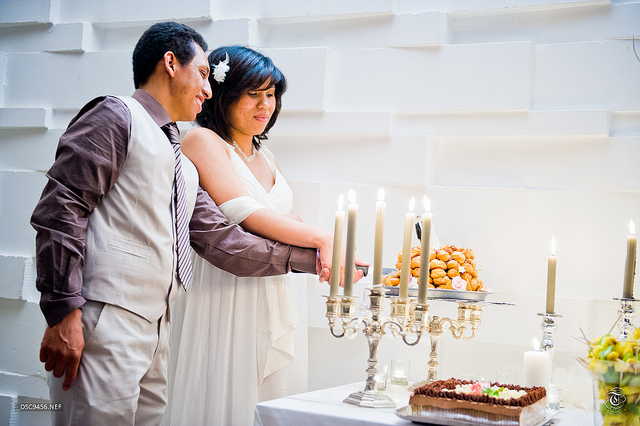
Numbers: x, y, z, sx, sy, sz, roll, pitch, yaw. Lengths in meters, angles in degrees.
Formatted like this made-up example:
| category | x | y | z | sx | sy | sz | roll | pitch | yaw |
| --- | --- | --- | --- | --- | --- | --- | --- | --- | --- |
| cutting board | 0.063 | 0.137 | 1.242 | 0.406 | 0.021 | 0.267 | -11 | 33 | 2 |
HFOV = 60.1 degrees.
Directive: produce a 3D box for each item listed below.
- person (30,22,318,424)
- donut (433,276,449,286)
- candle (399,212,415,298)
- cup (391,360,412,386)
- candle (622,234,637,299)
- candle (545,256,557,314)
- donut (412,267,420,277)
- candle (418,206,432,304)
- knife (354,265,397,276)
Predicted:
| category | x | y | z | sx | sy | sz | roll | pitch | yaw |
| --- | --- | --- | --- | --- | --- | --- | --- | --- | --- |
| person | -0.670 | 0.037 | 2.263 | 0.869 | 1.618 | 0.265 | 8 | -8 | -43 |
| donut | 0.519 | 0.290 | 2.356 | 0.045 | 0.037 | 0.019 | -14 | -29 | -6 |
| candle | 0.320 | 0.154 | 2.039 | 0.045 | 0.309 | 0.184 | 1 | -6 | 9 |
| cup | 0.376 | 0.737 | 2.569 | 0.099 | 0.110 | 0.097 | 1 | -4 | 0 |
| candle | 1.264 | 0.222 | 2.261 | 0.044 | 0.249 | 0.244 | -2 | -8 | 29 |
| candle | 0.938 | 0.292 | 2.250 | 0.036 | 0.221 | 0.200 | -1 | -7 | 24 |
| donut | 0.421 | 0.254 | 2.398 | 0.018 | 0.041 | 0.045 | 4 | -7 | -20 |
| candle | 0.369 | 0.145 | 1.948 | 0.039 | 0.339 | 0.058 | 1 | -6 | 9 |
| knife | 0.284 | 0.280 | 2.715 | 0.178 | 0.058 | 0.596 | 1 | -8 | 8 |
